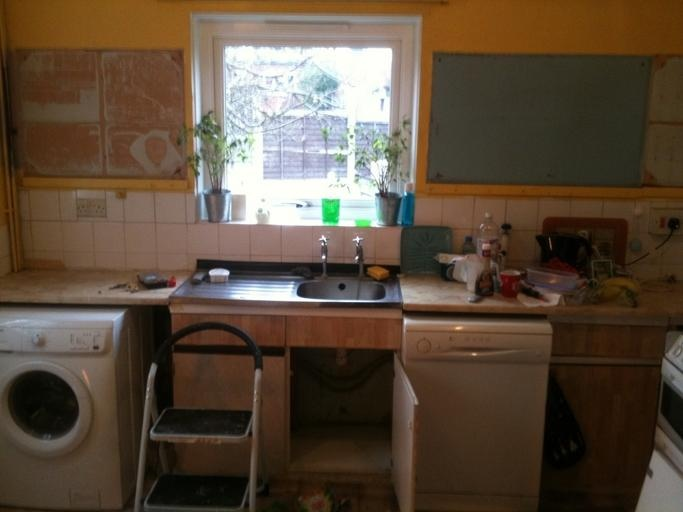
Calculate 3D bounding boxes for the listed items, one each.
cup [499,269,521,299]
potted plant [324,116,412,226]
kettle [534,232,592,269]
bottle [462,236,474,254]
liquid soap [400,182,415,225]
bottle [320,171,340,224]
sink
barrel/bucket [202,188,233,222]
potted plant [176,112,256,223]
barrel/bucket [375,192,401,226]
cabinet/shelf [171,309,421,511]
[{"bbox_3d":[0.957,0.164,3.375,0.100,0.118,0.159,3,18,14],"label":"cup"},{"bbox_3d":[0.263,-0.592,4.122,0.633,0.748,0.629,12,25,34],"label":"potted plant"},{"bbox_3d":[1.356,-0.020,3.651,0.269,0.271,0.244,-2,0,11],"label":"kettle"},{"bbox_3d":[0.816,-0.070,3.786,0.084,0.112,0.057,3,12,12],"label":"bottle"},{"bbox_3d":[0.412,-0.331,3.817,0.079,0.272,0.129,-10,15,-39],"label":"liquid soap"},{"bbox_3d":[-0.070,-0.377,3.932,0.123,0.335,0.127,1,4,0],"label":"bottle"},{"bbox_3d":[0.072,0.220,3.611,0.647,0.133,0.293,5,13,21],"label":"sink"},{"bbox_3d":[-0.794,-0.321,3.873,0.194,0.176,0.196,0,9,0],"label":"barrel/bucket"},{"bbox_3d":[-0.806,-0.577,3.859,0.470,0.695,0.317,-2,12,-9],"label":"potted plant"},{"bbox_3d":[0.299,-0.296,3.788,0.190,0.165,0.179,0,14,0],"label":"barrel/bucket"},{"bbox_3d":[-0.281,0.871,3.370,1.069,0.818,0.384,1,4,-1],"label":"cabinet/shelf"}]
